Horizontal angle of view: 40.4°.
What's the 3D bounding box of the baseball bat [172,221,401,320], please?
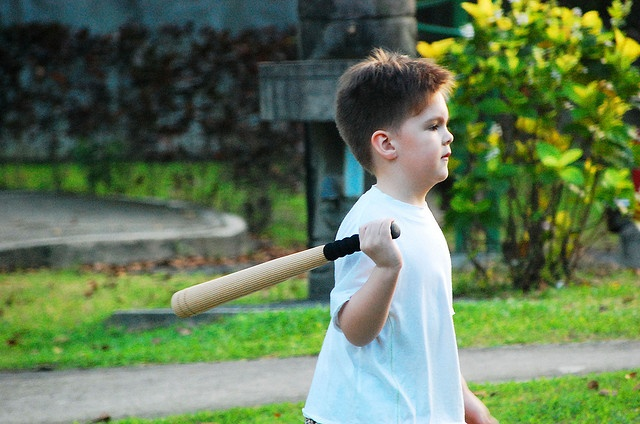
[{"bbox_3d":[-0.253,0.372,5.328,1.118,0.178,0.174,-24,29,8],"label":"baseball bat"}]
